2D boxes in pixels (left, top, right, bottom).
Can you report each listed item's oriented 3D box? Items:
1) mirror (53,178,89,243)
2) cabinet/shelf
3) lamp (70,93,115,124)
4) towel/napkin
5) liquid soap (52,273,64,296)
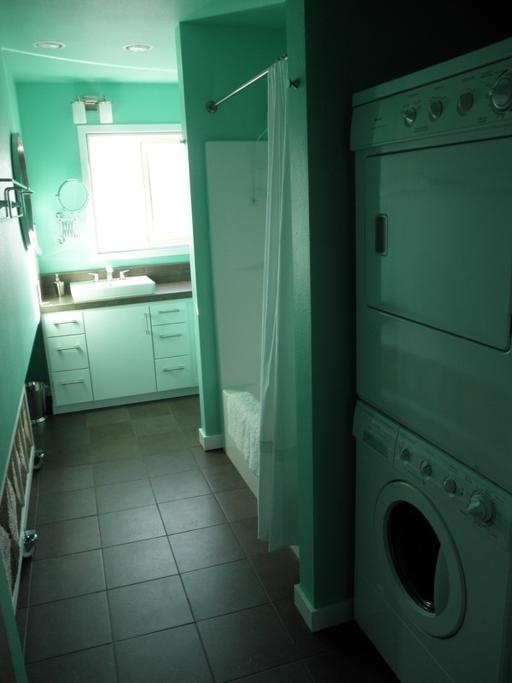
[{"bbox_3d":[-1.511,-1.044,4.246,0.177,0.507,0.054,2,10,-18],"label":"mirror"},{"bbox_3d":[-1.060,0.076,4.161,1.128,0.752,0.249,-4,10,-7],"label":"cabinet/shelf"},{"bbox_3d":[-1.212,-1.692,3.876,0.260,0.199,0.431,-5,12,-13],"label":"lamp"},{"bbox_3d":[-0.048,0.494,2.947,0.128,0.266,0.570,-2,12,-17],"label":"towel/napkin"},{"bbox_3d":[-1.655,-0.467,4.326,0.073,0.242,0.073,26,36,37],"label":"liquid soap"}]
